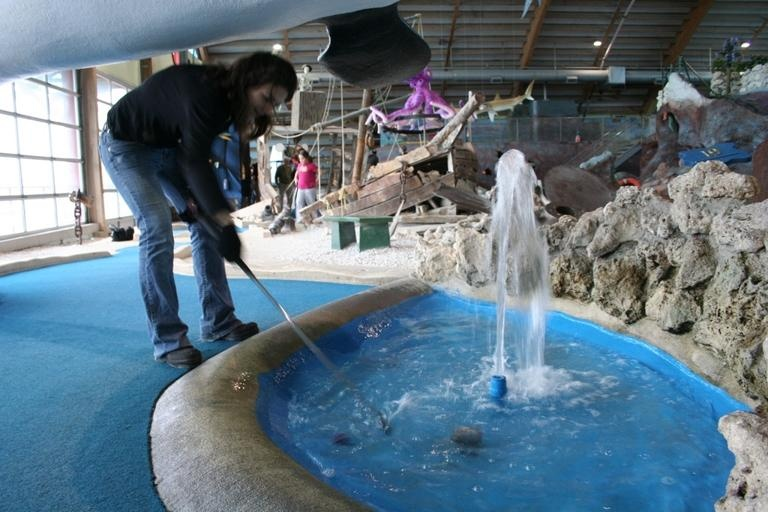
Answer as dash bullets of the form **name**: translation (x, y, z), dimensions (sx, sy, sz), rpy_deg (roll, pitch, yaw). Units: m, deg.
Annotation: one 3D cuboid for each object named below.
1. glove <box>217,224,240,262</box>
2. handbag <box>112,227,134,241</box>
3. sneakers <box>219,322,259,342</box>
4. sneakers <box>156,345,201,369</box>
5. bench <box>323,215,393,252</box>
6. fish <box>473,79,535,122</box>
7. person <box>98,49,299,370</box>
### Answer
- **glove**: translation (-0.863, -0.073, 2.927), dimensions (0.128, 0.211, 0.075), rpy_deg (-8, 12, -17)
- **handbag**: translation (-4.574, -0.392, 9.201), dimensions (0.324, 0.217, 0.223), rpy_deg (-1, 0, -20)
- **sneakers**: translation (-0.991, 0.530, 3.649), dimensions (0.312, 0.138, 0.113), rpy_deg (-1, -2, -4)
- **sneakers**: translation (-1.300, 0.631, 3.304), dimensions (0.306, 0.108, 0.122), rpy_deg (-1, -16, 4)
- **bench**: translation (-0.364, -0.334, 7.035), dimensions (0.722, 0.469, 1.052), rpy_deg (-10, 11, -28)
- **fish**: translation (2.807, -3.630, 12.362), dimensions (1.494, 0.666, 0.544), rpy_deg (-3, 21, 25)
- **person**: translation (-1.103, -0.239, 3.249), dimensions (1.188, 1.807, 0.635), rpy_deg (2, 13, 31)
